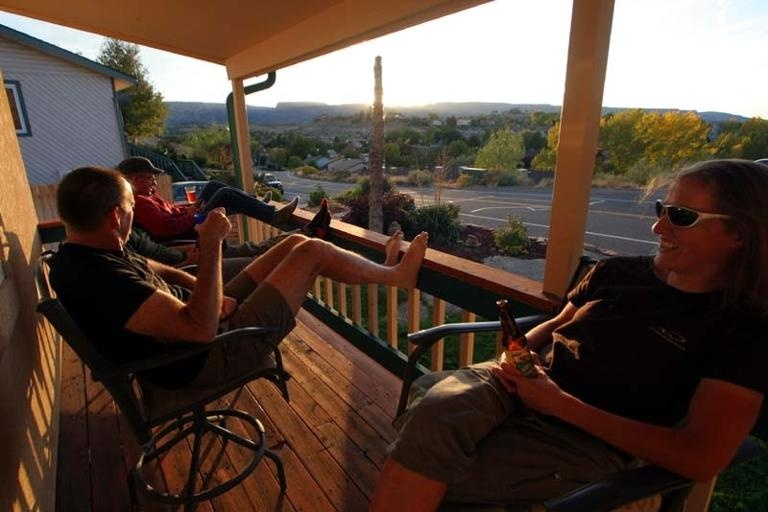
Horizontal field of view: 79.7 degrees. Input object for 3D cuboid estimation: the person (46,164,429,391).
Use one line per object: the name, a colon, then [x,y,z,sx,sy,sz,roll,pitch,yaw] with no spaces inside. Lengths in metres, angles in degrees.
person: [-0.789,-0.040,3.022,2.202,1.305,0.945,-19,26,-34]

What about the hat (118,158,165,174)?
hat: [-2.221,-0.826,4.238,0.322,0.130,0.221,-1,13,-39]

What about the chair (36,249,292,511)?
chair: [-1.165,0.733,3.385,1.520,2.077,1.388,-7,17,-22]

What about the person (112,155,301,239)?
person: [-1.753,-0.631,4.648,1.533,0.864,0.685,-17,25,-32]
